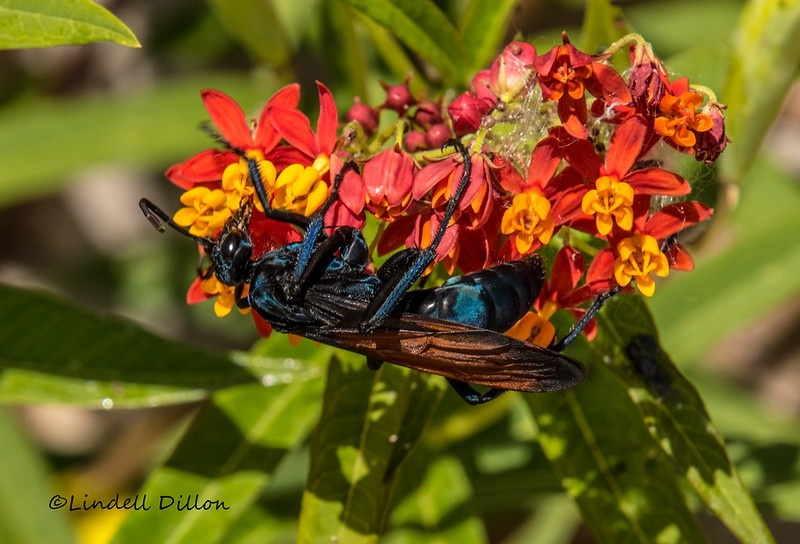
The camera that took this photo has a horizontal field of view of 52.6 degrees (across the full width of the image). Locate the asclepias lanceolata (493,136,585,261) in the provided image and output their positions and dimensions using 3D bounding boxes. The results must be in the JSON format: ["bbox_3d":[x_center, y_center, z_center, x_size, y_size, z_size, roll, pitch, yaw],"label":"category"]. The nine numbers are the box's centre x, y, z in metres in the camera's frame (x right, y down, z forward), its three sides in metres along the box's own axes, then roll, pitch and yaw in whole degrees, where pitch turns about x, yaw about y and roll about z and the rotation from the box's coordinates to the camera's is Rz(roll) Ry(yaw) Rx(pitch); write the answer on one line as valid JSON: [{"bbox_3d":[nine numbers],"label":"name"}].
[{"bbox_3d":[0.366,-0.203,2.163,0.259,0.271,0.088,34,22,21],"label":"asclepias lanceolata"}]

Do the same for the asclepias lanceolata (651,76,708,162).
[{"bbox_3d":[0.734,-0.413,2.111,0.152,0.172,0.077,-1,5,-2],"label":"asclepias lanceolata"}]

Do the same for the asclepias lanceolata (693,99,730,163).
[{"bbox_3d":[0.820,-0.377,2.163,0.096,0.148,0.059,-3,-10,-21],"label":"asclepias lanceolata"}]

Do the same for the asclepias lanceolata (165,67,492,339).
[{"bbox_3d":[-0.270,-0.184,2.290,0.769,0.697,0.369,-4,37,-2],"label":"asclepias lanceolata"}]

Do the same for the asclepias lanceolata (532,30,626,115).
[{"bbox_3d":[0.446,-0.525,2.112,0.243,0.149,0.226,25,6,11],"label":"asclepias lanceolata"}]

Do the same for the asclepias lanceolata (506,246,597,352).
[{"bbox_3d":[0.421,0.071,2.336,0.269,0.277,0.079,8,10,-29],"label":"asclepias lanceolata"}]

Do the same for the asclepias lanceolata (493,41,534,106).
[{"bbox_3d":[0.320,-0.567,2.278,0.139,0.124,0.137,-15,39,-16],"label":"asclepias lanceolata"}]
